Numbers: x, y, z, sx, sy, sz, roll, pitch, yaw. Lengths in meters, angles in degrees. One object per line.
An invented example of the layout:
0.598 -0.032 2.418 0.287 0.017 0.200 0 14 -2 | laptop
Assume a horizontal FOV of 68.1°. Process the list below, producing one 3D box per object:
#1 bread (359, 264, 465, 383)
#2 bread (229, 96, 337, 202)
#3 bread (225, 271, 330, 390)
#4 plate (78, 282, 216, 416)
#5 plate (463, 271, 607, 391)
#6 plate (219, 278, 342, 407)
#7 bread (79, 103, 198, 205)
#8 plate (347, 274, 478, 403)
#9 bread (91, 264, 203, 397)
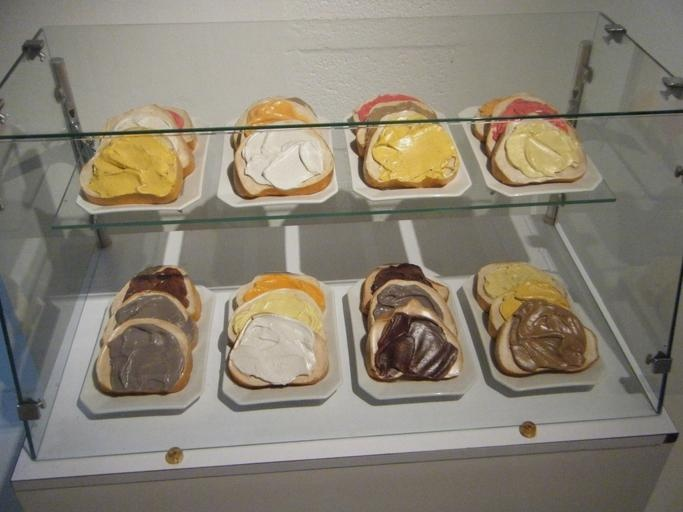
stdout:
0.184 0.156 1.393 0.257 0.140 0.403 -2 35 6 | bread
-0.161 -0.263 1.175 0.164 0.068 0.229 -1 -26 -13 | bread
-0.161 0.167 1.307 0.259 0.339 0.076 1 15 -8 | bread
-0.517 0.241 1.336 0.322 0.327 0.189 -2 -8 -5 | plate
0.504 0.193 1.352 0.344 0.316 0.179 -5 -8 17 | plate
-0.165 0.227 1.338 0.313 0.314 0.182 -2 -8 -6 | plate
-0.462 -0.254 1.168 0.252 0.298 0.229 2 -9 -29 | bread
0.187 0.217 1.381 0.352 0.325 0.227 -2 -8 -1 | plate
-0.498 0.180 1.336 0.248 0.405 0.060 0 -40 -10 | bread
